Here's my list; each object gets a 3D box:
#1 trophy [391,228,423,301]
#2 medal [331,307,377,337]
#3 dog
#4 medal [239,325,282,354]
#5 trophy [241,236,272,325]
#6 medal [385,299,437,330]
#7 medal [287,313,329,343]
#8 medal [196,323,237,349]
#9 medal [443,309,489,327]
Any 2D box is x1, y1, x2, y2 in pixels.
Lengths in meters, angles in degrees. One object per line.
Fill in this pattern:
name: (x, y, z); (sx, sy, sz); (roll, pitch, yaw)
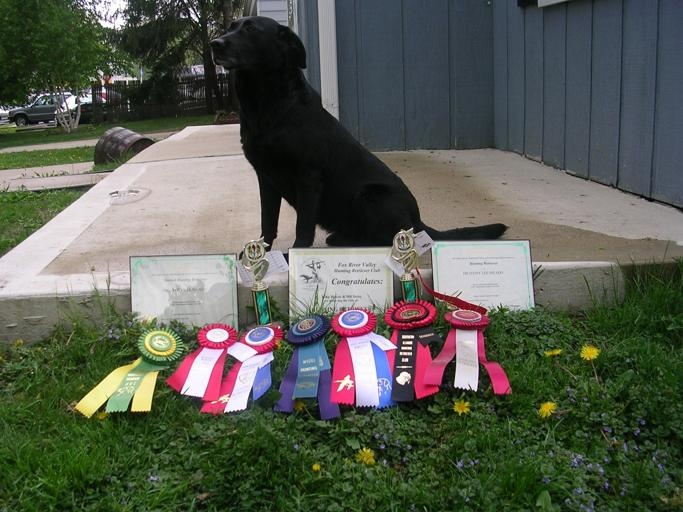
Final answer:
trophy: (0.295, 0.040, 2.340); (0.138, 0.325, 0.097); (-5, 12, -4)
medal: (0.051, 0.291, 2.183); (0.190, 0.084, 0.138); (-4, 13, 2)
dog: (0.062, -0.532, 2.652); (1.370, 1.179, 0.585); (1, 11, -17)
medal: (-0.346, 0.363, 2.222); (0.172, 0.083, 0.156); (5, 16, 34)
trophy: (-0.384, 0.126, 2.353); (0.155, 0.408, 0.077); (-7, 11, 6)
medal: (0.304, 0.259, 2.216); (0.227, 0.093, 0.157); (-3, 14, 7)
medal: (-0.137, 0.324, 2.187); (0.165, 0.090, 0.181); (7, 18, 40)
medal: (-0.540, 0.353, 2.205); (0.160, 0.070, 0.134); (-9, 14, -17)
medal: (0.530, 0.277, 2.170); (0.153, 0.056, 0.143); (-10, 15, -20)
